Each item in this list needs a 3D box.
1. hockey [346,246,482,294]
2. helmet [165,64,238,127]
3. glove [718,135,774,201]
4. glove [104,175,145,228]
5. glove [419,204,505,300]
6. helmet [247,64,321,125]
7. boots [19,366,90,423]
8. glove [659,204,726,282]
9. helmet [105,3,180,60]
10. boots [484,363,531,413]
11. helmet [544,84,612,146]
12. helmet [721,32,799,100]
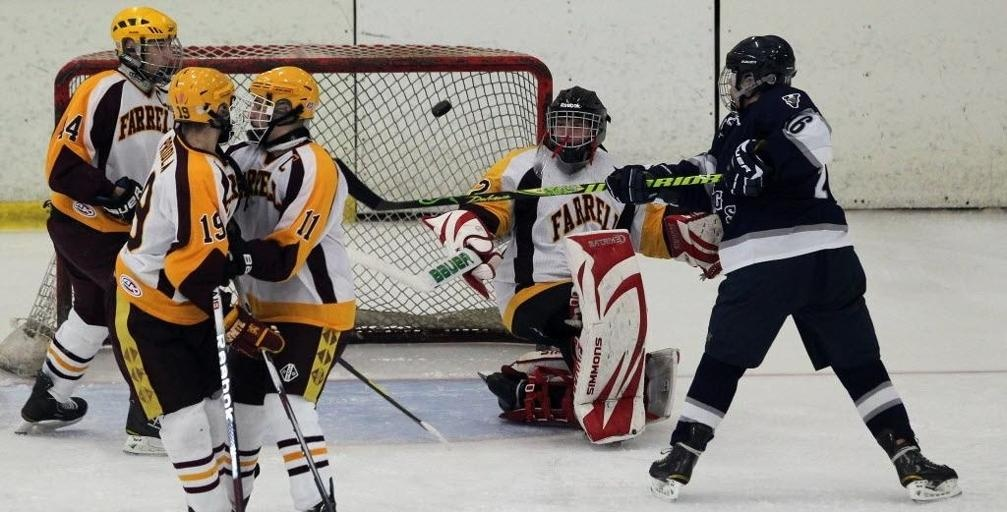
[{"bbox_3d":[-0.661,0.081,7.393,1.091,0.241,0.369,6,-21,29],"label":"hockey"},{"bbox_3d":[-1.848,-0.983,6.624,0.442,0.328,0.451,6,18,12],"label":"helmet"},{"bbox_3d":[1.494,-0.541,6.707,0.291,0.363,0.159,1,14,8],"label":"glove"},{"bbox_3d":[-2.494,-0.364,7.193,0.298,0.189,0.635,8,-8,-21],"label":"glove"},{"bbox_3d":[-0.272,-0.014,7.224,0.501,0.577,0.413,-1,13,-3],"label":"glove"},{"bbox_3d":[-1.363,-1.003,6.670,0.454,0.289,0.328,3,16,-17],"label":"helmet"},{"bbox_3d":[-3.058,1.003,7.398,0.190,0.323,0.505,-4,-11,30],"label":"boots"},{"bbox_3d":[1.286,-0.092,7.295,0.371,0.494,0.201,-11,0,24],"label":"glove"},{"bbox_3d":[-2.438,-1.514,7.293,0.457,0.294,0.319,-4,20,4],"label":"helmet"},{"bbox_3d":[0.009,0.853,7.603,0.357,0.129,0.235,17,-3,6],"label":"boots"},{"bbox_3d":[0.540,-0.955,7.459,0.380,0.331,0.441,-4,2,15],"label":"helmet"},{"bbox_3d":[1.677,-1.188,6.970,0.535,0.427,0.417,2,13,32],"label":"helmet"}]
